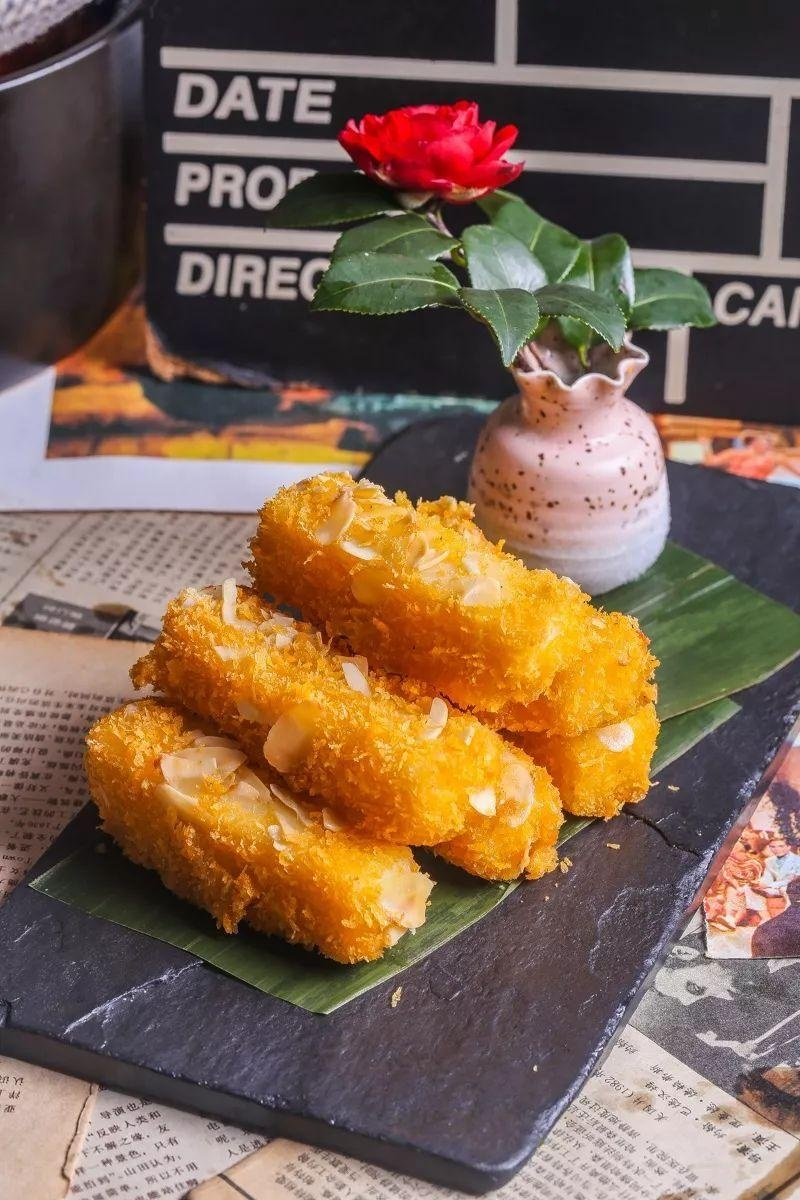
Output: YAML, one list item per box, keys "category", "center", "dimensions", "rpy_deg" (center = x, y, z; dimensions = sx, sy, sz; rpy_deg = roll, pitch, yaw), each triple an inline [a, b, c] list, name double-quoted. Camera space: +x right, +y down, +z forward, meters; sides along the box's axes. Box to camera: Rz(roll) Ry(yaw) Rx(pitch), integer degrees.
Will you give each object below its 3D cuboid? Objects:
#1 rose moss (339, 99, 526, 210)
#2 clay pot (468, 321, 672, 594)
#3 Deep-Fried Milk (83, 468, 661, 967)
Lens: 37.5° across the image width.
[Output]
- category: "rose moss"
  center: [0.028, -0.291, 0.787]
  dimensions: [0.065, 0.069, 0.110]
  rpy_deg: [-18, 23, -38]
- category: "clay pot"
  center: [0.128, -0.131, 0.948]
  dimensions: [0.189, 0.185, 0.185]
  rpy_deg: [0, 26, 0]
- category: "Deep-Fried Milk"
  center: [-0.036, 0.037, 0.720]
  dimensions: [0.303, 0.244, 0.316]
  rpy_deg: [-2, 7, 22]
